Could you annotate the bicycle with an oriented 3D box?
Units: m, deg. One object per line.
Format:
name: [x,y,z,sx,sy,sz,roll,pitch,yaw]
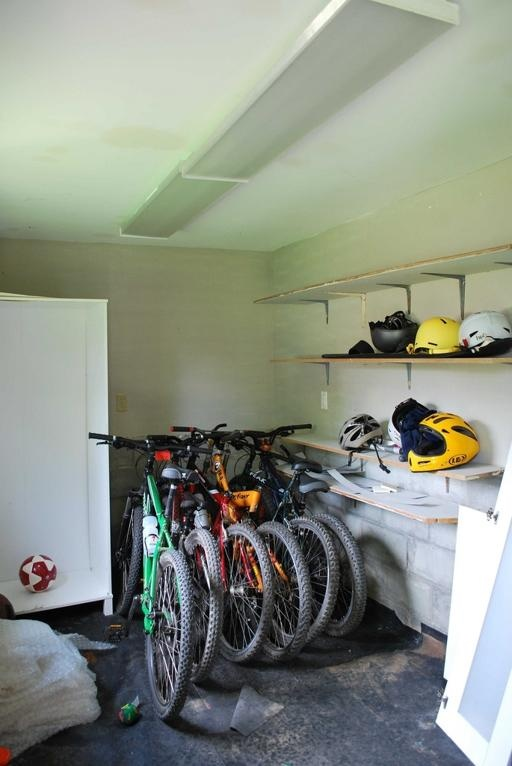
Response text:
bicycle: [-0.299,0.790,2.679,0.771,1.077,1.312,-3,4,-31]

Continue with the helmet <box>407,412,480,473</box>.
helmet: [0.882,0.271,2.528,0.251,0.264,0.275,-3,3,-27]

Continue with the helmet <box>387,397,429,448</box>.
helmet: [0.781,0.186,2.795,0.190,0.250,0.157,13,-13,14]

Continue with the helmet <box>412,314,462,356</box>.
helmet: [0.811,-0.217,2.465,0.229,0.170,0.176,1,3,29]

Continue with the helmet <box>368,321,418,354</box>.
helmet: [0.715,-0.244,2.782,0.186,0.134,0.171,-1,6,1]
